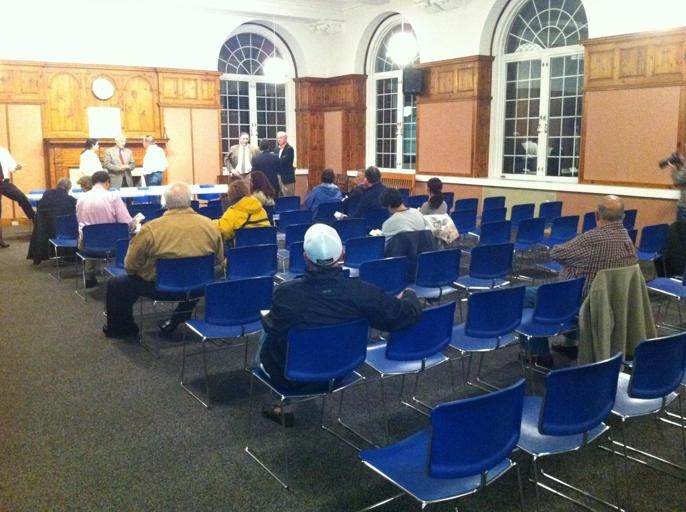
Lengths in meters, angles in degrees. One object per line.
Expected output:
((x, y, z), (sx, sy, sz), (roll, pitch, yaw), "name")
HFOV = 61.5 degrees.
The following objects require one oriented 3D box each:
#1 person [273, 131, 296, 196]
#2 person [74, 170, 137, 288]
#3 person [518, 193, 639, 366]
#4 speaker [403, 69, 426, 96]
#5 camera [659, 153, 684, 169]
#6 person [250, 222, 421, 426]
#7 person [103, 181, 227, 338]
((-1.243, -1.822, 12.099), (0.494, 1.663, 0.489), (-5, 37, -10), "person")
((-3.064, -0.518, 7.389), (0.804, 1.341, 0.713), (24, 29, 28), "person")
((1.917, 0.162, 4.967), (0.696, 1.591, 0.877), (-7, 26, -25), "person")
((1.635, -3.925, 12.936), (0.510, 0.626, 0.326), (5, 7, 35), "speaker")
((4.683, -1.314, 8.161), (0.280, 0.215, 0.135), (-37, -14, 8), "camera")
((-0.064, 0.513, 3.921), (1.133, 1.503, 0.986), (2, 15, 18), "person")
((-1.738, 0.090, 5.546), (1.078, 1.529, 1.022), (3, 6, -12), "person")
